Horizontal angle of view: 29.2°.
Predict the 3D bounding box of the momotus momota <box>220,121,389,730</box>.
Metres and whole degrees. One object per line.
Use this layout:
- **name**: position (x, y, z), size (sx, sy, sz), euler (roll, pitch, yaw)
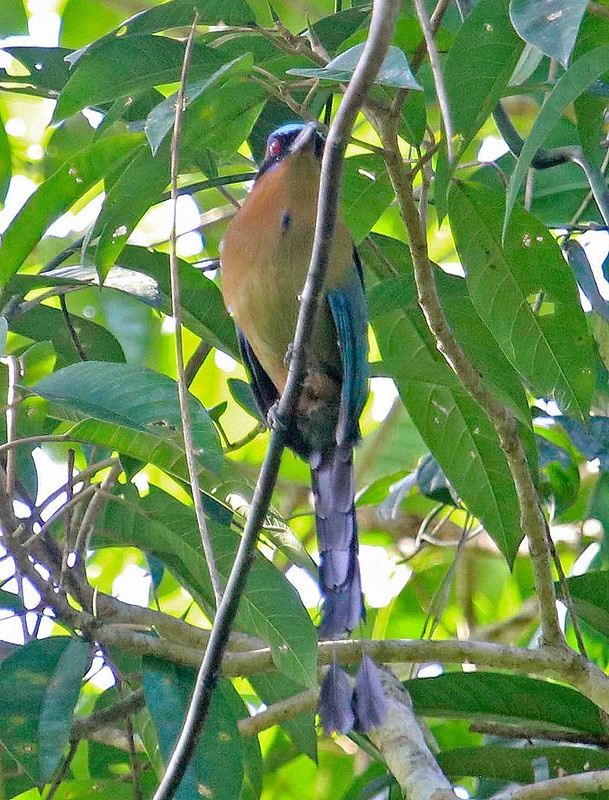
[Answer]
- **momotus momota**: position (0.001, 0.012, 2.953), size (0.362, 0.476, 1.535), euler (-1, -94, 2)
